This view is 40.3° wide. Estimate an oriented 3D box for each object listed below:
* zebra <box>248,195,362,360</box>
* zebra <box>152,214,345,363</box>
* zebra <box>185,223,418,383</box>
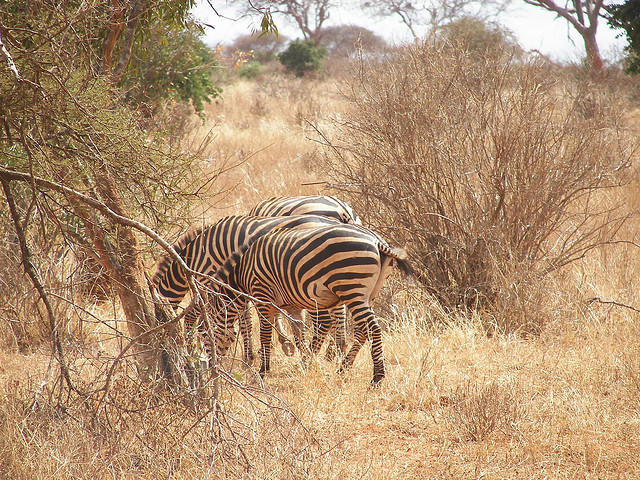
[{"bbox_3d":[-0.248,0.537,7.974,1.699,1.543,0.545,-5,-9,26],"label":"zebra"},{"bbox_3d":[-0.549,0.438,8.175,2.144,1.383,0.635,-5,29,-27],"label":"zebra"},{"bbox_3d":[-0.087,0.533,7.562,1.591,1.158,0.917,4,1,7],"label":"zebra"}]
